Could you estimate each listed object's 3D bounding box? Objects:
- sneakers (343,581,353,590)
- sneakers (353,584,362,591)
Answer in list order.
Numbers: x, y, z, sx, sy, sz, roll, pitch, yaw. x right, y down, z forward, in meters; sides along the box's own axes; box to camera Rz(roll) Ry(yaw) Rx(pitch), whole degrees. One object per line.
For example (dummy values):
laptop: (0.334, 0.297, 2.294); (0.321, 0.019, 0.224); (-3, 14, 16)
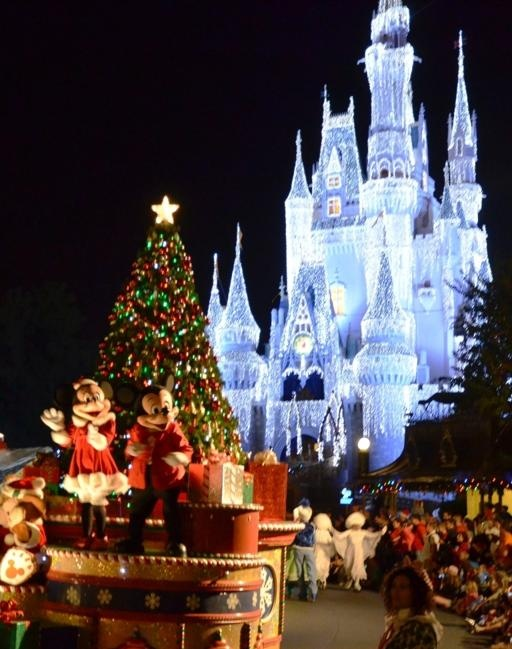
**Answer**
sneakers: (1.691, 4.776, 16.867); (0.110, 0.190, 0.041); (-4, -7, 42)
sneakers: (1.827, 4.803, 16.804); (0.092, 0.117, 0.405); (-19, -19, 20)
